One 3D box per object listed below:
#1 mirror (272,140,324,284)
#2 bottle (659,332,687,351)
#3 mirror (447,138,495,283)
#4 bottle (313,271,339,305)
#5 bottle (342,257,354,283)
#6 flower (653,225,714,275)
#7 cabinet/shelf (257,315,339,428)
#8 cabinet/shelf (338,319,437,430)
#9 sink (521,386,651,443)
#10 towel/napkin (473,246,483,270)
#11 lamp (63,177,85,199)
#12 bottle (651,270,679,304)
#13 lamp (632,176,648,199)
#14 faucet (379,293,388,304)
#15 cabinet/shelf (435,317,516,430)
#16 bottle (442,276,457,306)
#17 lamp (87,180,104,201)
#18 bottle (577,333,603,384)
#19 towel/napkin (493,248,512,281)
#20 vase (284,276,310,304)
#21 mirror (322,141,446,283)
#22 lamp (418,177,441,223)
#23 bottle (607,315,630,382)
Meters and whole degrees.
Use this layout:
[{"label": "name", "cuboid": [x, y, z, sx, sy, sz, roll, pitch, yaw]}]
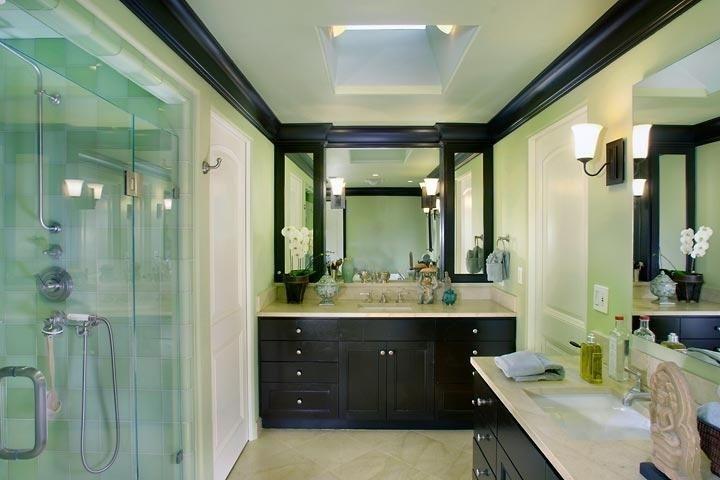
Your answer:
[{"label": "mirror", "cuboid": [-0.569, -0.254, 4.823, 0.440, 1.341, 0.097, -1, 17, -10]}, {"label": "bottle", "cuboid": [1.602, 0.518, 2.652, 0.063, 0.122, 0.125, 0, -1, 2]}, {"label": "mirror", "cuboid": [0.988, -0.249, 4.733, 0.491, 1.278, 0.187, -2, -4, 9]}, {"label": "bottle", "cuboid": [-0.296, 0.425, 4.617, 0.240, 0.302, 0.249, 1, 1, 0]}, {"label": "bottle", "cuboid": [-0.122, 0.285, 4.941, 0.123, 0.240, 0.187, -2, -4, -2]}, {"label": "flower", "cuboid": [1.608, 0.066, 2.536, 0.171, 0.322, 0.220, 7, -6, -21]}, {"label": "cabinet/shelf", "cuboid": [-0.481, 1.113, 4.606, 0.843, 1.211, 0.737, 0, -4, -1]}, {"label": "cabinet/shelf", "cuboid": [0.225, 1.053, 4.242, 0.781, 0.825, 0.392, 0, -4, 0]}, {"label": "sink", "cuboid": [1.184, 0.911, 2.731, 0.574, 0.208, 0.259, -2, -4, 4]}, {"label": "towel/napkin", "cuboid": [1.070, 0.181, 4.730, 0.123, 0.244, 0.050, -3, -4, 12]}, {"label": "lamp", "cuboid": [-1.446, -0.263, 2.618, 0.078, 0.078, 0.085, -8, -7, 32]}, {"label": "bottle", "cuboid": [1.586, 0.245, 2.718, 0.132, 0.171, 0.135, -1, 1, 0]}, {"label": "lamp", "cuboid": [1.523, -0.289, 2.829, 0.074, 0.088, 0.078, -2, -8, 26]}, {"label": "faucet", "cuboid": [0.215, 0.543, 4.794, 0.077, 0.087, 0.079, 1, -5, 12]}, {"label": "cabinet/shelf", "cuboid": [0.932, 1.043, 4.544, 0.758, 0.995, 0.716, 1, 8, 15]}, {"label": "bottle", "cuboid": [0.793, 0.442, 4.637, 0.130, 0.266, 0.274, -2, -4, 10]}, {"label": "lamp", "cuboid": [-1.380, -0.261, 2.711, 0.100, 0.103, 0.067, 1, -5, -15]}, {"label": "bottle", "cuboid": [1.337, 0.674, 3.003, 0.126, 0.268, 0.203, -3, -4, 24]}, {"label": "towel/napkin", "cuboid": [1.207, 0.213, 4.383, 0.082, 0.215, 0.176, 0, 1, -2]}, {"label": "vase", "cuboid": [-0.559, 0.450, 4.587, 0.228, 0.285, 0.224, 0, -9, 1]}, {"label": "mirror", "cuboid": [0.253, -0.280, 5.404, 1.307, 1.570, 0.059, 0, 0, 3]}, {"label": "lamp", "cuboid": [0.745, -0.438, 5.465, 0.348, 0.455, 0.348, 2, -3, -6]}, {"label": "bottle", "cuboid": [1.456, 0.607, 2.941, 0.105, 0.367, 0.198, -3, -4, 25]}]
